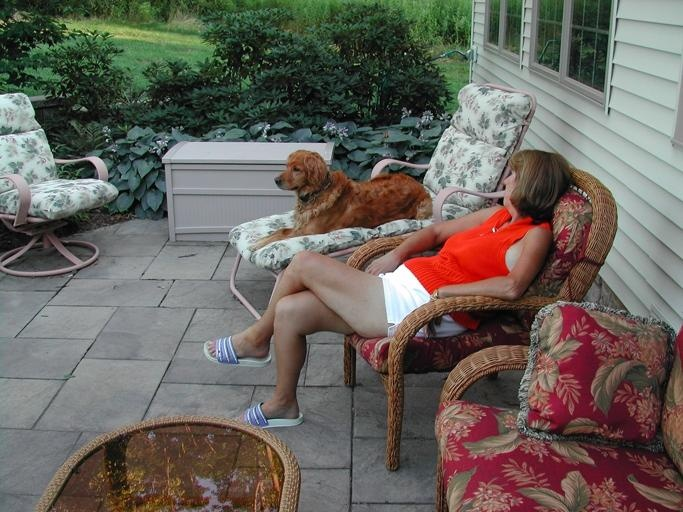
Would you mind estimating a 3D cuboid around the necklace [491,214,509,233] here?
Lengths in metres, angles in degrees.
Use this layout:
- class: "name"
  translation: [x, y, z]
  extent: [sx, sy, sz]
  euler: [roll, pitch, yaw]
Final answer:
- class: "necklace"
  translation: [0.795, -0.164, 2.371]
  extent: [0.046, 0.105, 0.076]
  euler: [41, 16, -15]

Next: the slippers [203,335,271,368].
- class: "slippers"
  translation: [-0.597, 0.552, 2.714]
  extent: [0.372, 0.098, 0.177]
  euler: [4, 20, -1]

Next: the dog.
- class: "dog"
  translation: [-0.031, -0.467, 3.562]
  extent: [1.580, 0.623, 0.487]
  euler: [-13, 34, -39]

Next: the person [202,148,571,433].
- class: "person"
  translation: [0.237, 0.153, 2.471]
  extent: [2.026, 1.096, 0.837]
  euler: [-8, 8, 2]

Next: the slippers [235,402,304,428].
- class: "slippers"
  translation: [-0.386, 0.832, 2.464]
  extent: [0.442, 0.114, 0.165]
  euler: [2, 7, -7]
